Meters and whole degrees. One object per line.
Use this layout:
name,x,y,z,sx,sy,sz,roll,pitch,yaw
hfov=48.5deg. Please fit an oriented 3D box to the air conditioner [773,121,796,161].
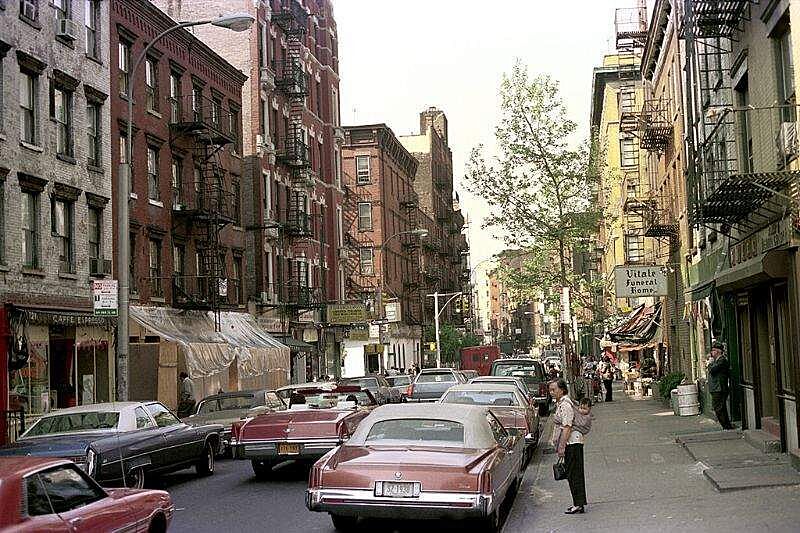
air conditioner,8.987,-2.925,20.722,0.325,1.091,0.902,0,-6,3

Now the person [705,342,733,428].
person,9.388,3.456,26.103,0.634,2.525,1.185,-7,-9,19

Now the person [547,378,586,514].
person,3.378,3.555,17.846,0.617,2.651,0.674,-6,-9,15

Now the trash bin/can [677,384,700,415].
trash bin/can,10.293,4.794,32.020,0.909,1.399,0.953,-1,-10,6

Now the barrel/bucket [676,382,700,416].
barrel/bucket,10.240,4.697,31.660,0.917,1.366,0.962,-1,-9,0

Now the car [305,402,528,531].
car,0.270,3.798,16.752,4.093,2.509,2.644,-3,-9,-9

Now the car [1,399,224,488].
car,-6.414,3.906,20.242,2.129,1.258,4.096,-1,-1,20

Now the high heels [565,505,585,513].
high heels,3.493,4.814,17.735,0.450,0.208,0.160,5,-6,-1

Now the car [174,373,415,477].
car,-2.204,3.932,23.180,2.295,1.632,4.447,-3,-1,12

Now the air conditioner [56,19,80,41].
air conditioner,-12.089,-8.541,32.171,0.352,0.878,1.024,-1,-3,6

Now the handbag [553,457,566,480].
handbag,3.202,4.024,17.772,0.246,0.392,0.475,-5,-9,10
